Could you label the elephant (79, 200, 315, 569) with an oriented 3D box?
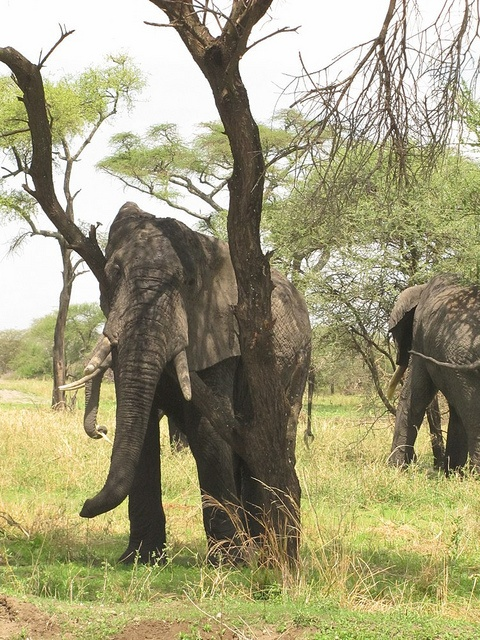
[{"bbox_3d":[-0.312,0.528,6.060,1.287,2.428,3.052,1,-9,22],"label":"elephant"}]
